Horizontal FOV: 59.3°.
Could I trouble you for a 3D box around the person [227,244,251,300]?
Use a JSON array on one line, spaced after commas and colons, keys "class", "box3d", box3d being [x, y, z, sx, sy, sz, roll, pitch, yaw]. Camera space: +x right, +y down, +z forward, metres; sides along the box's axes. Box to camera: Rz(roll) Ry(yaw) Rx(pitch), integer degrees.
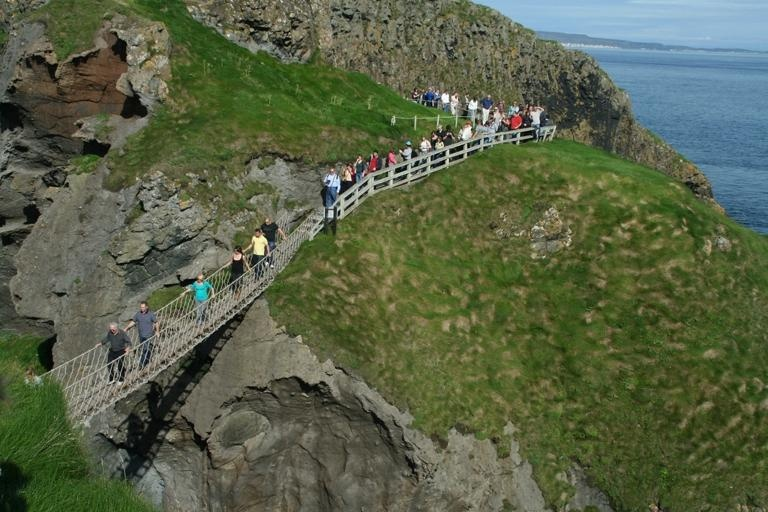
[{"class": "person", "box3d": [-9.549, 0.886, 43.959, 1.103, 3.305, 0.938, 10, 20, 3]}]
